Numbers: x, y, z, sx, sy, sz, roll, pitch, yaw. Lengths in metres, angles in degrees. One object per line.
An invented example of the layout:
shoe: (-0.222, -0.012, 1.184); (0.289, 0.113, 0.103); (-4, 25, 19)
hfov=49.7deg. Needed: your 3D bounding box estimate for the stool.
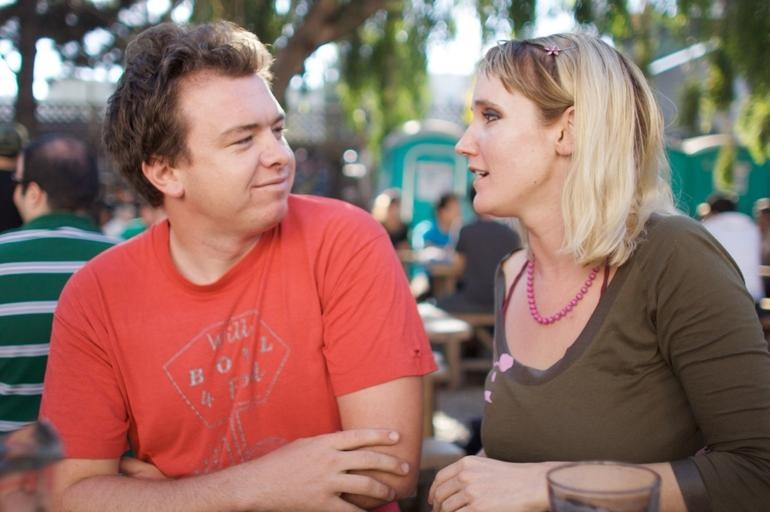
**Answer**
stool: (0.905, 0.854, 8.219); (0.644, 0.685, 0.673); (1, 6, 10)
